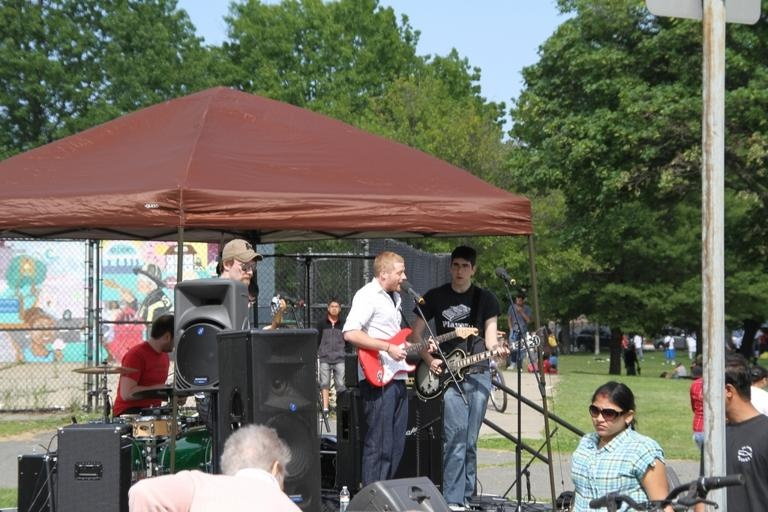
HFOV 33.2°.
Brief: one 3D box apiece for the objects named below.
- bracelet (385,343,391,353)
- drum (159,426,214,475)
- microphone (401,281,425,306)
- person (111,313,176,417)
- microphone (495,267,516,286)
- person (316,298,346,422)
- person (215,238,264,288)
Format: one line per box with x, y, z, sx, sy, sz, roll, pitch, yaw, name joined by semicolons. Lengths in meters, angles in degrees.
0.104;1.930;26.761;0.111;0.185;0.046;-1;-9;1;bracelet
-4.128;4.151;27.153;1.086;0.985;1.084;0;-2;-8;drum
0.693;0.894;30.072;0.197;0.673;0.205;-41;-9;-41;microphone
-5.082;2.401;27.873;1.168;2.302;1.477;-1;7;-10;person
2.483;0.406;26.930;0.204;0.200;0.749;26;9;-37;microphone
-1.496;2.682;33.288;0.898;2.932;0.848;3;-5;4;person
-3.120;0.116;26.870;0.970;1.097;0.821;1;-2;26;person
